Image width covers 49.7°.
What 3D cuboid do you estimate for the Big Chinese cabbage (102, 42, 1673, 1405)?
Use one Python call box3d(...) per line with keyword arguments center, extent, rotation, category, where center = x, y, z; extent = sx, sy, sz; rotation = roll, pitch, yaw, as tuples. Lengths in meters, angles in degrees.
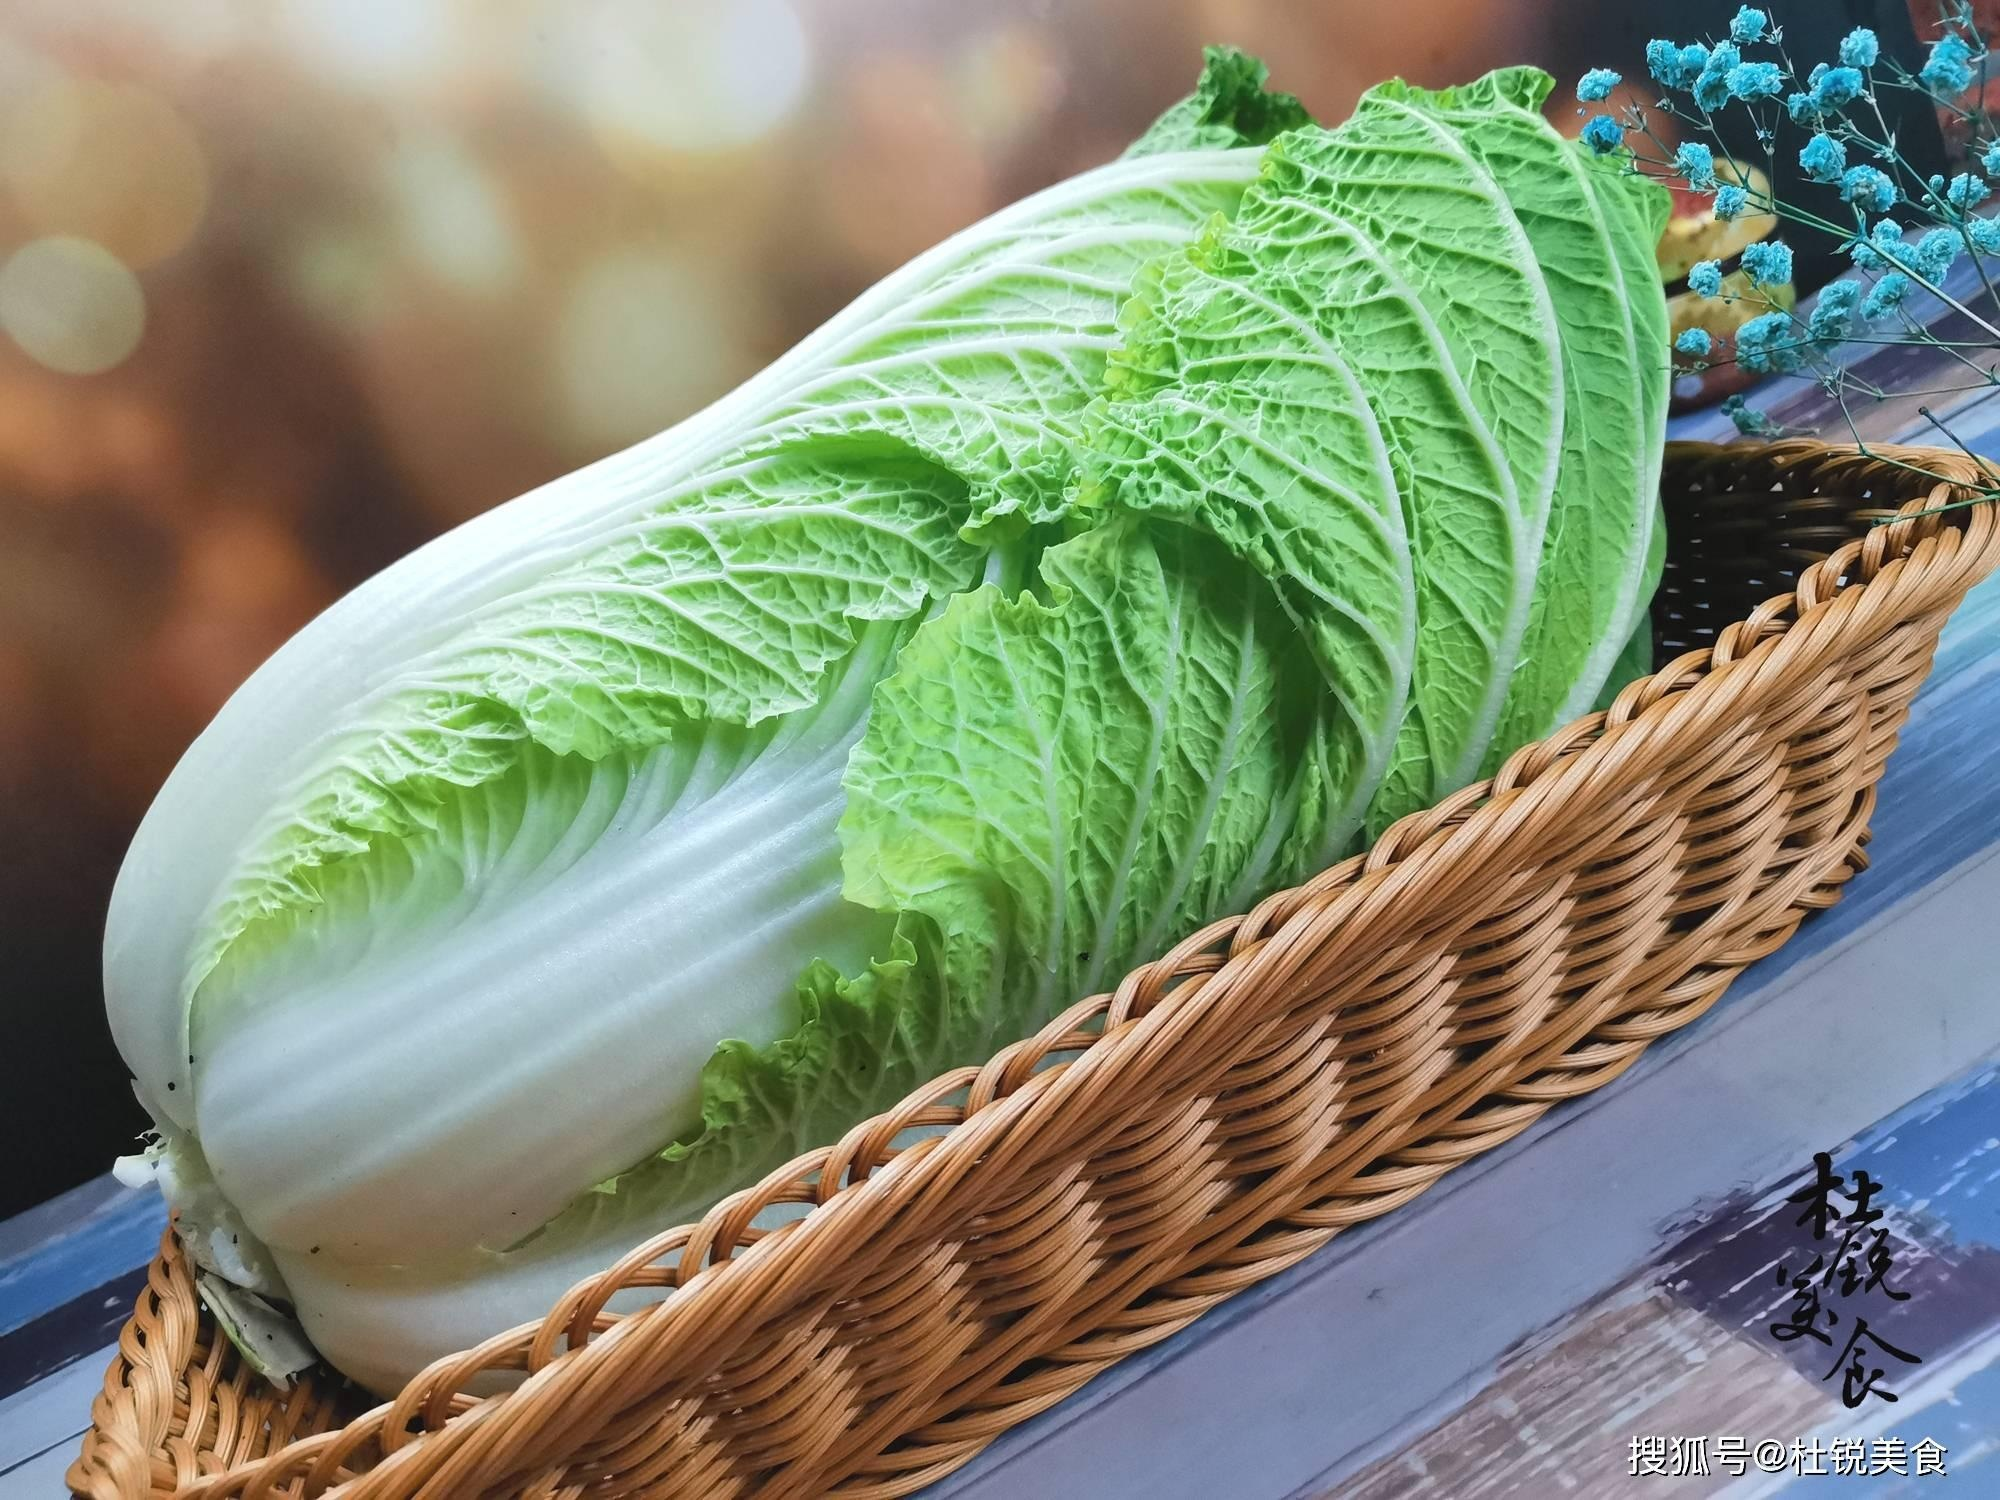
box3d(center=(0.003, -0.005, 1.658), extent=(1.229, 0.689, 0.507), rotation=(-26, -51, -15), category="Big Chinese cabbage")
